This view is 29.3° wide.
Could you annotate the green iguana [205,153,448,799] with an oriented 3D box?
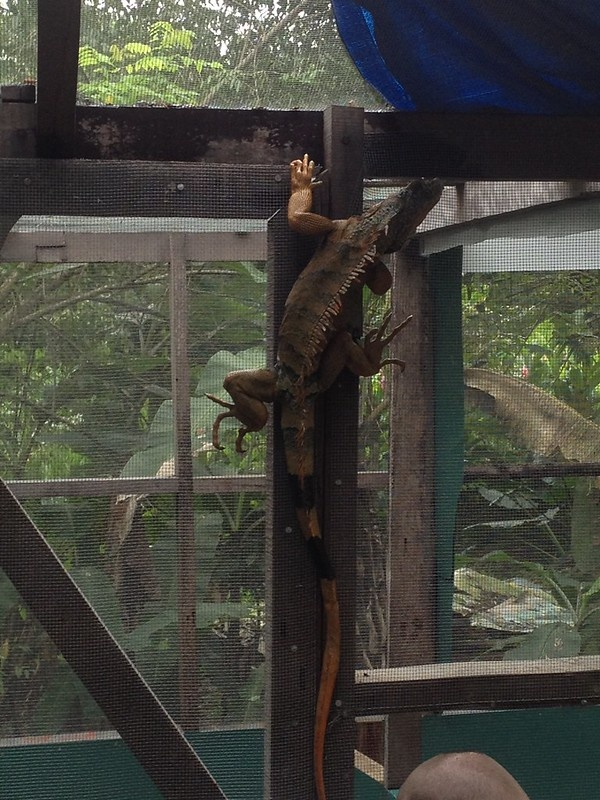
[{"bbox_3d":[0.052,0.193,2.729,0.488,1.519,0.191,3,9,8],"label":"green iguana"}]
